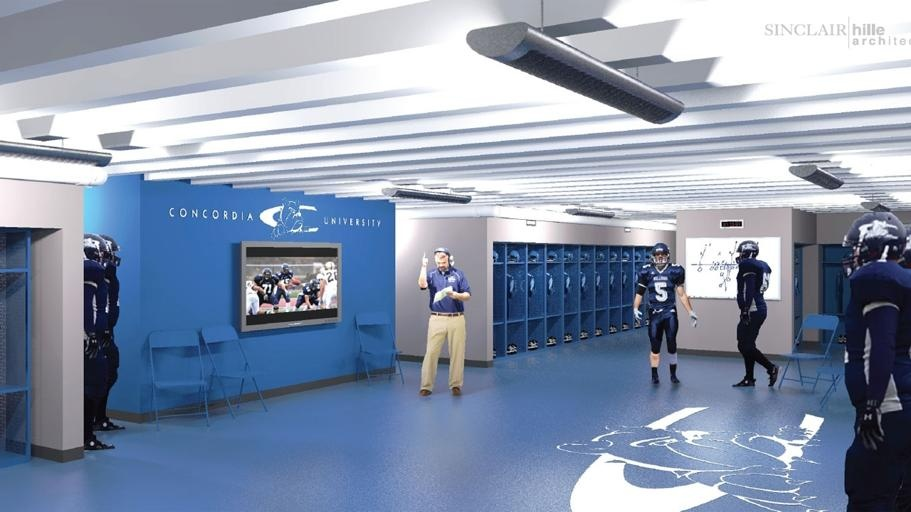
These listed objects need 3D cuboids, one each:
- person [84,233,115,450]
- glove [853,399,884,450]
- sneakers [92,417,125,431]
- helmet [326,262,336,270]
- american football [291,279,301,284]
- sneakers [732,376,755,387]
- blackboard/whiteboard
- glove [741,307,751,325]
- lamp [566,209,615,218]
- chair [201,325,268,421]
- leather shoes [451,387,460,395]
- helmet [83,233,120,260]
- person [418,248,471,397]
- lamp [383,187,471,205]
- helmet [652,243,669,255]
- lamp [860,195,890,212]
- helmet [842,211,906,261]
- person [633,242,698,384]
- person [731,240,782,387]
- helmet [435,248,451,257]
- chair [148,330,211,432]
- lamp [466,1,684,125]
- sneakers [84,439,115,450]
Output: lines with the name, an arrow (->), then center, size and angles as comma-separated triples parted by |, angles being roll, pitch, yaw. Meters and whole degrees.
person -> -5.019, 1.167, 7.481 | 0.325, 2.878, 0.593 | -1, 2, -34
glove -> 3.181, 1.315, 4.233 | 0.130, 0.315, 0.255 | -6, 1, 20
sneakers -> -5.289, 2.536, 8.189 | 0.512, 0.158, 0.157 | 1, -3, -5
helmet -> -2.468, 0.175, 10.555 | 0.122, 0.119, 0.150 | -10, -20, 34
american football -> -2.992, 0.453, 10.045 | 0.115, 0.078, 0.085 | 11, -26, 19
sneakers -> 5.485, 2.401, 10.413 | 0.566, 0.191, 0.178 | 0, -4, 2
blackboard/whiteboard -> 6.825, 0.277, 13.588 | 2.668, 1.635, 0.063 | 2, -2, -22
glove -> 5.565, 1.150, 10.283 | 0.197, 0.236, 0.095 | -3, -3, 42
lamp -> 3.561, -1.181, 14.367 | 0.463, 0.155, 1.829 | 0, 1, 40
chair -> -3.790, 1.854, 9.013 | 0.928, 1.433, 1.011 | -1, 1, -18
leather shoes -> 0.010, 2.434, 9.833 | 0.150, 0.112, 0.122 | 1, 11, 14
helmet -> -5.131, -0.162, 7.798 | 0.512, 0.355, 0.357 | 21, -1, -22
person -> -0.212, 1.170, 10.006 | 0.928, 2.660, 0.865 | 0, 1, 5
lamp -> -0.540, -1.124, 9.702 | 1.822, 0.170, 0.401 | -1, 1, -42
helmet -> 4.179, -0.178, 10.872 | 0.304, 0.281, 0.355 | -4, -10, 12
lamp -> 9.223, -1.115, 11.836 | 0.370, 0.240, 1.476 | 1, 1, 41
helmet -> 3.567, -0.171, 4.670 | 0.536, 0.403, 0.389 | -4, 0, 35
person -> 4.176, 1.109, 10.811 | 1.103, 2.743, 0.828 | 0, 1, 14
person -> 5.701, 1.082, 10.332 | 0.732, 2.770, 0.479 | -1, 2, -20
helmet -> -0.247, -0.030, 9.899 | 0.211, 0.231, 0.229 | -6, 11, 4
chair -> -4.381, 1.859, 8.596 | 0.898, 1.406, 0.671 | -1, 2, -37
lamp -> 0.833, -1.185, 3.581 | 0.529, 0.201, 2.061 | -6, -11, 41
sneakers -> -4.898, 2.546, 7.385 | 0.412, 0.138, 0.128 | 1, 0, -13
